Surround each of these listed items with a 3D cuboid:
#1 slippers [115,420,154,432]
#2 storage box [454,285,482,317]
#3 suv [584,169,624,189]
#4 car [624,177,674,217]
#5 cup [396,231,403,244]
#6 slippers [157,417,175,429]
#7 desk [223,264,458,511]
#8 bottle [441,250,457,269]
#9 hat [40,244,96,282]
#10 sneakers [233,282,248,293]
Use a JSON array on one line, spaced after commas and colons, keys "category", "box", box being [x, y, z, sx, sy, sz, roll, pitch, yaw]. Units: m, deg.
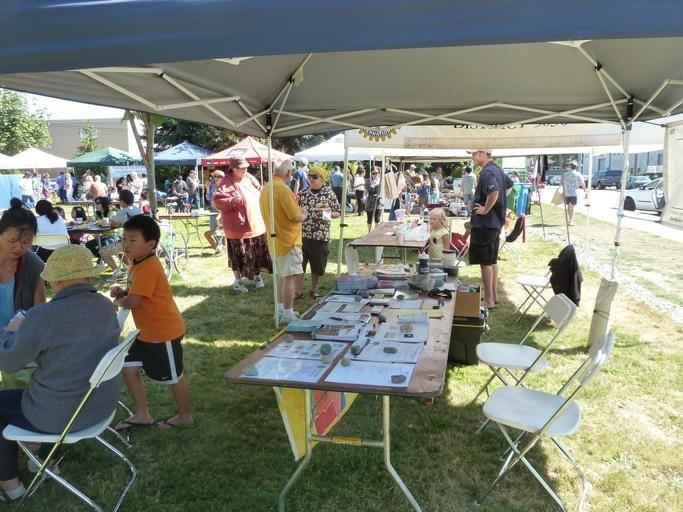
[{"category": "slippers", "box": [-1.649, 1.348, 3.975, 0.282, 0.069, 0.098, 2, 11, -12]}, {"category": "storage box", "box": [1.229, 0.443, 4.864, 0.281, 0.184, 0.292, 0, 6, 10]}, {"category": "suv", "box": [15.562, -4.451, 29.172, 0.876, 1.196, 2.719, 1, 13, 4]}, {"category": "car", "box": [10.286, -2.011, 16.846, 0.687, 1.290, 2.392, 3, 13, 13]}, {"category": "cup", "box": [0.795, -0.246, 6.781, 0.100, 0.150, 0.152, 0, 4, 5]}, {"category": "slippers", "box": [-1.404, 1.335, 4.003, 0.070, 0.023, 0.097, 7, 6, 4]}, {"category": "desk", "box": [0.100, 1.010, 3.450, 1.198, 1.090, 1.521, 4, 13, 14]}, {"category": "bottle", "box": [1.077, 0.033, 4.972, 0.174, 0.069, 0.123, -4, 23, 6]}, {"category": "hat", "box": [-1.644, 0.020, 3.013, 0.224, 0.146, 0.275, 2, 10, 5]}, {"category": "sneakers", "box": [-1.477, 0.465, 7.461, 0.280, 0.129, 0.103, 10, 18, 22]}]
